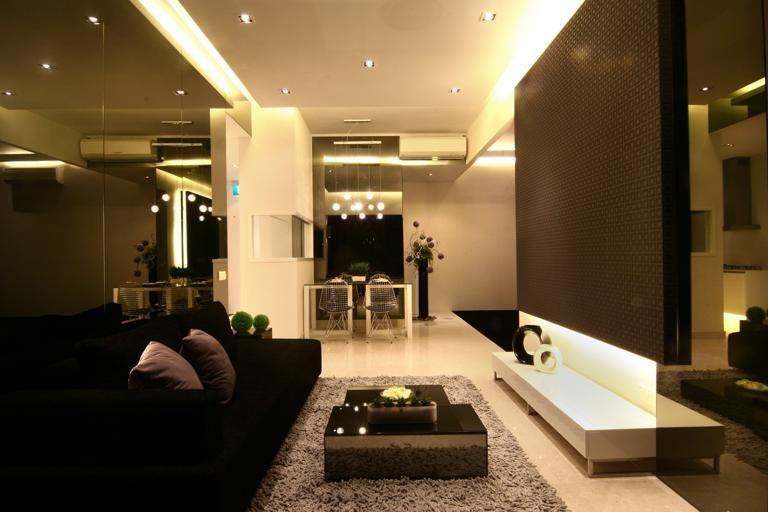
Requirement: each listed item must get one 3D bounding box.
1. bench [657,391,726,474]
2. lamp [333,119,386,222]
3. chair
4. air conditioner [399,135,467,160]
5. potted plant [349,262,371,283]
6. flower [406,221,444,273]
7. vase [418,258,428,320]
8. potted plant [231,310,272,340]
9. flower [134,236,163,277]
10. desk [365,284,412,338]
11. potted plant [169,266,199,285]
[{"bbox_3d":[2.466,1.460,4.540,0.463,0.257,0.718,-3,2,7],"label":"bench"},{"bbox_3d":[-0.542,-1.535,11.112,1.136,1.566,0.562,-1,1,-5],"label":"lamp"},{"bbox_3d":[-0.462,0.898,9.862,1.328,1.033,0.892,-1,1,-5],"label":"chair"},{"bbox_3d":[0.952,-2.112,10.911,1.150,0.436,0.416,-1,6,3],"label":"air conditioner"},{"bbox_3d":[-0.452,0.313,10.385,0.320,0.414,0.406,-2,-2,27],"label":"potted plant"},{"bbox_3d":[0.796,-0.224,11.890,0.670,1.042,0.791,-7,7,39],"label":"flower"},{"bbox_3d":[0.814,0.713,11.525,0.204,1.249,0.421,-1,1,4],"label":"vase"},{"bbox_3d":[-1.637,0.869,6.960,0.375,0.251,0.402,1,-2,-4],"label":"potted plant"},{"bbox_3d":[-2.486,0.039,5.876,0.331,0.454,0.296,-1,3,-6],"label":"flower"},{"bbox_3d":[0.100,0.846,9.932,0.838,0.680,0.863,-1,-1,17],"label":"desk"},{"bbox_3d":[-2.371,0.243,6.544,0.167,0.165,0.200,-1,-2,-6],"label":"potted plant"}]
